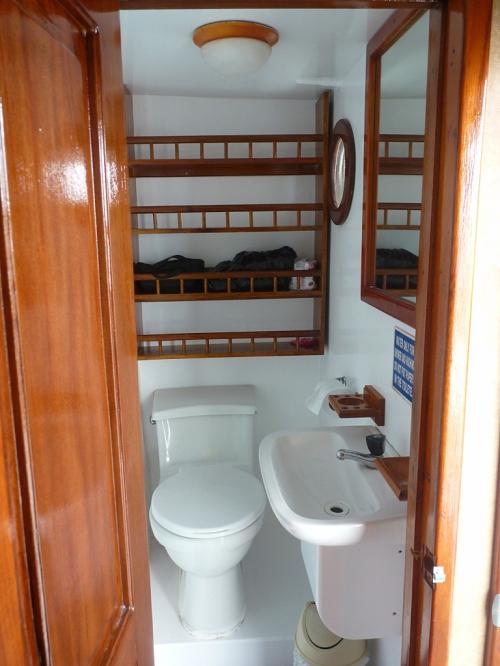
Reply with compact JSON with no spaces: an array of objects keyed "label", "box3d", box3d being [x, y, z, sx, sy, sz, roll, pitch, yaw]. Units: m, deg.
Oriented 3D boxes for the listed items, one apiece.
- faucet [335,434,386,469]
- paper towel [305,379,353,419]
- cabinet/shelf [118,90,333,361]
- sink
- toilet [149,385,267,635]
[{"label":"faucet","box3d":[0.278,0.289,1.328,0.129,0.104,0.065,5,9,-3]},{"label":"paper towel","box3d":[0.244,0.196,1.656,0.147,0.088,0.168,1,6,32]},{"label":"cabinet/shelf","box3d":[-0.140,-0.349,2.149,0.921,1.027,0.352,6,-6,27]},{"label":"sink","box3d":[0.219,0.403,1.296,0.349,0.128,0.547,-3,6,0]},{"label":"toilet","box3d":[-0.165,0.611,1.945,0.421,0.721,0.692,-2,5,-4]}]
